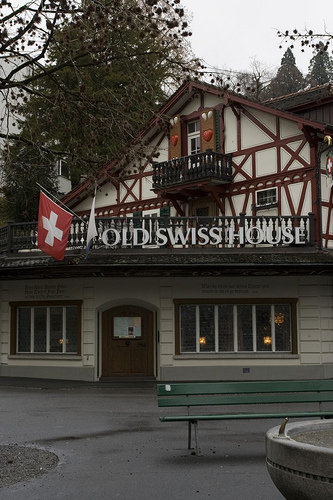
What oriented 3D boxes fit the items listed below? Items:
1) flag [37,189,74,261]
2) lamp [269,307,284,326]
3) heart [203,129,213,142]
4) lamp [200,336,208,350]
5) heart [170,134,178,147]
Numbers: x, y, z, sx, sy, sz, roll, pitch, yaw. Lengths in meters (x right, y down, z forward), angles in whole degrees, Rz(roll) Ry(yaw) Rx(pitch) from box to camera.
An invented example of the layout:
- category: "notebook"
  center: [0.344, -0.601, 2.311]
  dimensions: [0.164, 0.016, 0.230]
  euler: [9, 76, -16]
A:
- category: "flag"
  center: [-3.121, -0.709, 19.450]
  dimensions: [0.917, 1.968, 0.669]
  euler: [3, -13, -11]
- category: "lamp"
  center: [3.313, 2.038, 21.469]
  dimensions: [0.476, 0.705, 0.493]
  euler: [-2, -9, 22]
- category: "heart"
  center: [1.468, -4.099, 25.007]
  dimensions: [0.062, 0.440, 0.431]
  euler: [18, -20, -39]
- category: "lamp"
  center: [1.106, 2.756, 21.346]
  dimensions: [0.185, 0.389, 0.202]
  euler: [0, -2, 9]
- category: "heart"
  center: [0.279, -4.103, 26.061]
  dimensions: [0.065, 0.511, 0.482]
  euler: [3, -1, -31]
